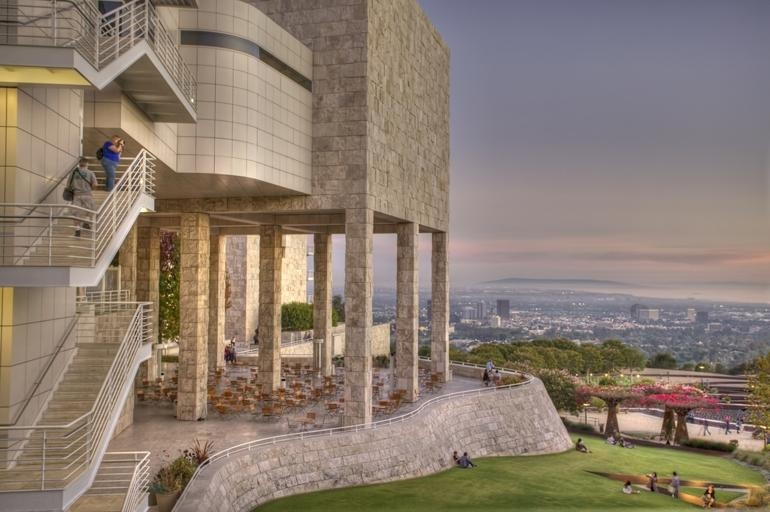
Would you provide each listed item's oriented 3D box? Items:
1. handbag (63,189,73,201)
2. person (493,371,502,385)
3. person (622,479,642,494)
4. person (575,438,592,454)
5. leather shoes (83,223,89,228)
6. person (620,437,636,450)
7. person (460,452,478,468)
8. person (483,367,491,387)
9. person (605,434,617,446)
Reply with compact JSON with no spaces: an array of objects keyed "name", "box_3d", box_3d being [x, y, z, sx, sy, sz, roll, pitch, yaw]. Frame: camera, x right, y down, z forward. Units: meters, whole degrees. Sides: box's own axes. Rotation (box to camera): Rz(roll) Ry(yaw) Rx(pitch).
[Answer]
[{"name":"handbag","box_3d":[-10.236,-1.954,23.141,0.334,0.328,0.338,0,1,-10]},{"name":"person","box_3d":[6.879,7.417,43.879,0.516,0.790,1.369,1,-6,8]},{"name":"person","box_3d":[12.390,11.580,36.074,0.926,0.906,0.607,1,-1,22]},{"name":"person","box_3d":[12.045,11.638,43.962,0.639,0.530,1.017,-9,-11,4]},{"name":"leather shoes","box_3d":[-9.535,-0.951,22.905,0.144,0.102,0.149,2,0,21]},{"name":"person","box_3d":[16.196,12.661,48.166,1.142,0.494,0.834,7,-8,16]},{"name":"person","box_3d":[4.161,10.456,36.917,0.905,0.984,0.491,-8,2,-12]},{"name":"person","box_3d":[6.363,7.502,44.821,0.435,0.965,1.335,1,-6,8]},{"name":"person","box_3d":[15.565,12.624,49.384,0.639,0.345,0.865,2,-5,15]}]
